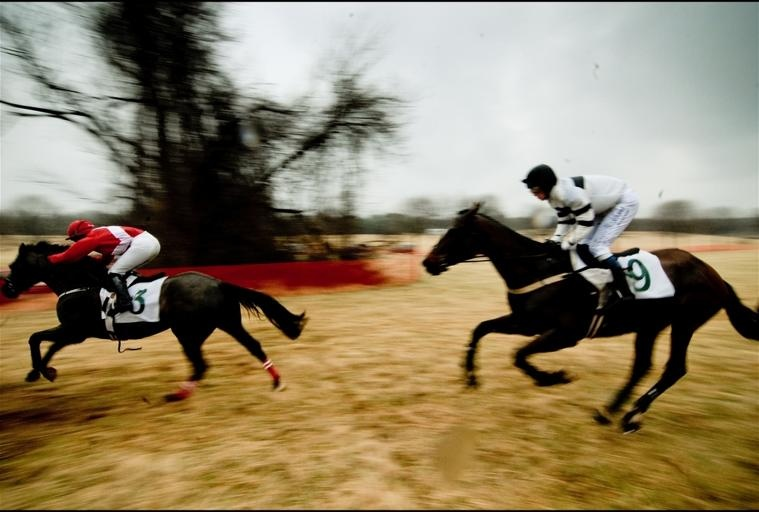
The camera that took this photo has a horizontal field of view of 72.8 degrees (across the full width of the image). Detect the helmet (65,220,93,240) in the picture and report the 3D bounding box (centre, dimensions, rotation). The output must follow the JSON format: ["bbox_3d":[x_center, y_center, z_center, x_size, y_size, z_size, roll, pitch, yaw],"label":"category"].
[{"bbox_3d":[-3.627,-0.312,6.266,0.277,0.181,0.370,-31,27,-23],"label":"helmet"}]

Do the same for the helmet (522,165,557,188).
[{"bbox_3d":[1.833,-0.896,5.835,0.349,0.265,0.171,6,8,11],"label":"helmet"}]

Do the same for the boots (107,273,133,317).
[{"bbox_3d":[-2.968,0.421,5.970,0.168,0.436,0.281,-3,11,-42],"label":"boots"}]

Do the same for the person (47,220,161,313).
[{"bbox_3d":[-3.330,0.070,6.290,1.284,0.811,0.700,4,-5,-26],"label":"person"}]
